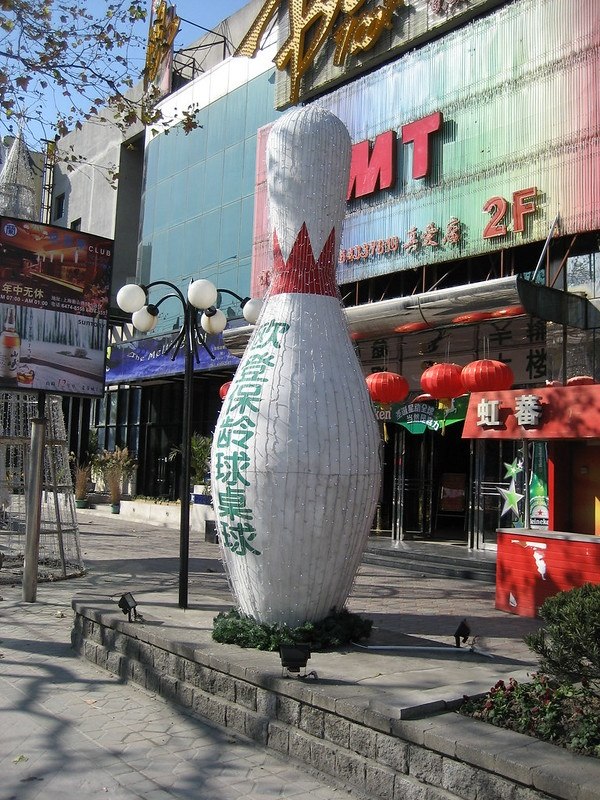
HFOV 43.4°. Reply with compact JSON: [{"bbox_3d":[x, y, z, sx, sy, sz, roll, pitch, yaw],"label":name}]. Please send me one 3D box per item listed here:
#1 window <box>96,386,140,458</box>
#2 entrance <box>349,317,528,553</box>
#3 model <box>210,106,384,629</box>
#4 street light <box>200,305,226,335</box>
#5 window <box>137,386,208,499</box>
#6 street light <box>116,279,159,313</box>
[{"bbox_3d":[-6.551,0.948,27.207,3.664,2.561,0.282,-3,-7,35],"label":"window"},{"bbox_3d":[3.389,0.543,15.777,1.671,4.770,5.152,-17,1,-18],"label":"entrance"},{"bbox_3d":[-0.016,-0.374,5.491,1.205,3.929,0.801,1,-3,-6],"label":"model"},{"bbox_3d":[-0.887,-0.821,7.784,0.286,0.333,0.289,-5,13,-41],"label":"street light"},{"bbox_3d":[-4.636,1.509,25.836,2.042,3.604,1.839,3,-3,-25],"label":"window"},{"bbox_3d":[-1.644,-1.034,7.576,0.336,0.354,0.799,1,-3,-11],"label":"street light"}]
